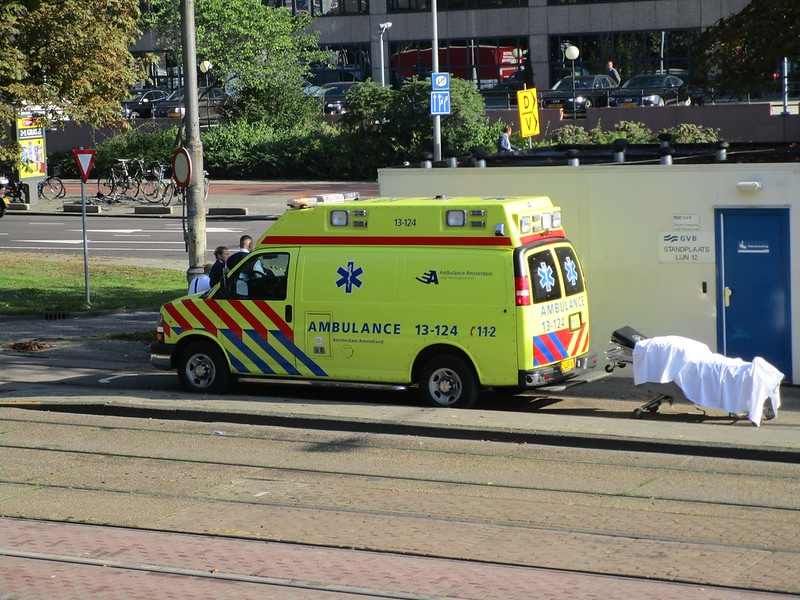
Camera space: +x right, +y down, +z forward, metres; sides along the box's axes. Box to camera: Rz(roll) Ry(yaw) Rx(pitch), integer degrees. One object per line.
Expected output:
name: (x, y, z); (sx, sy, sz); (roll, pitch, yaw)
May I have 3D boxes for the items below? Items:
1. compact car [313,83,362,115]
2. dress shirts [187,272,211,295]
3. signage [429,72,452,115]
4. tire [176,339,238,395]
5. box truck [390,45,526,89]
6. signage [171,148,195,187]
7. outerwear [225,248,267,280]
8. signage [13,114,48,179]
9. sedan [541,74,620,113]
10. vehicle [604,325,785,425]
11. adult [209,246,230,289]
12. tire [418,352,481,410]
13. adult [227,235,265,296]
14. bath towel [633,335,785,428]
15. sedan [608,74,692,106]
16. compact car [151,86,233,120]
compact car: (-3.091, -8.518, 61.429); (2.881, 1.149, 1.538); (1, 1, -11)
dress shirts: (-3.314, -0.261, 23.847); (0.366, 0.341, 0.202); (6, 0, 44)
signage: (0.968, -5.106, 36.075); (0.416, 0.981, 0.748); (-2, 5, -3)
tire: (-3.044, 1.078, 22.502); (0.888, 0.846, 0.316); (11, 7, 25)
box truck: (2.877, -10.786, 66.785); (6.535, 1.988, 2.279); (7, 10, 32)
signage: (-3.721, -2.219, 24.635); (0.064, 0.667, 0.687); (-7, 14, -34)
outerwear: (-2.420, -0.543, 22.440); (0.654, 0.626, 0.511); (-2, 4, 1)
signage: (-11.607, -4.669, 45.477); (0.762, 1.803, 2.200); (-3, 5, -9)
sedan: (6.780, -7.548, 53.408); (1.426, 1.005, 3.257); (3, 5, 39)
vehicle: (4.238, 1.026, 20.736); (2.016, 0.967, 1.248); (5, 6, 16)
adult: (-2.933, -0.343, 23.677); (0.346, 1.024, 0.342); (0, 16, -18)
tire: (0.726, 1.156, 21.125); (0.880, 0.842, 0.285); (-1, 0, 25)
adult: (-2.570, -0.506, 23.076); (0.484, 1.310, 0.431); (7, 46, -9)
bath towel: (4.372, 1.037, 20.632); (1.822, 0.789, 1.154); (9, 7, 18)
sedan: (9.048, -7.440, 51.929); (2.884, 0.807, 1.353); (-3, 4, -45)
compact car: (-9.088, -8.395, 62.242); (3.039, 1.567, 5.929); (-3, 5, -9)
